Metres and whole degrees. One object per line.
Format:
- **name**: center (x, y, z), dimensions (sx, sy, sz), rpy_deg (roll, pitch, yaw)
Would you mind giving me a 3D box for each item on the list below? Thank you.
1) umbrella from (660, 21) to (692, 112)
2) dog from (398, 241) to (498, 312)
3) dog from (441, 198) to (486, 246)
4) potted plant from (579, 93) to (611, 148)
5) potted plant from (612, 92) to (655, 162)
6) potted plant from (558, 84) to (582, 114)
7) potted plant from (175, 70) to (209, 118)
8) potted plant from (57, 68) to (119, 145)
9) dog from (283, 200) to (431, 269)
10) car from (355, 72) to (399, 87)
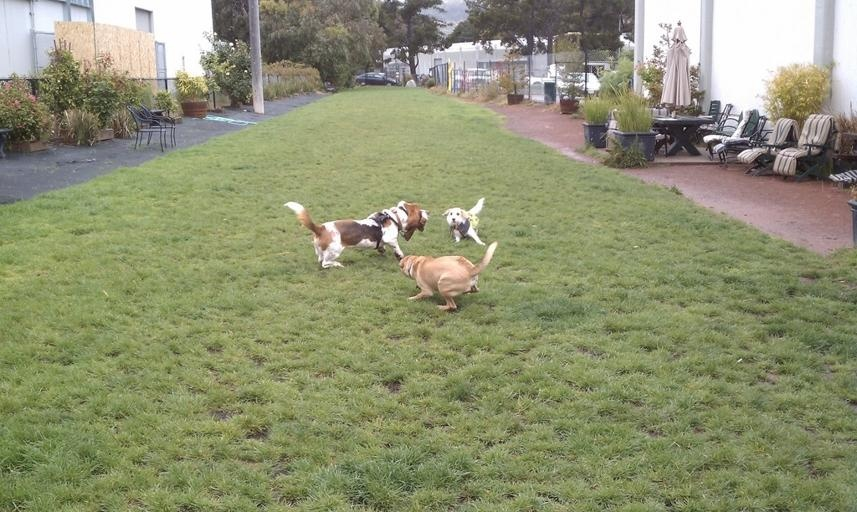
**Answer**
- **umbrella**: center (7.424, -5.549, 20.370), dimensions (0.788, 2.377, 0.819), rpy_deg (6, 18, 18)
- **dog**: center (0.233, 0.264, 9.613), dimensions (1.569, 0.855, 0.707), rpy_deg (5, 18, 37)
- **dog**: center (0.790, -0.678, 12.069), dimensions (0.666, 0.656, 1.359), rpy_deg (12, 7, 23)
- **potted plant**: center (4.953, -3.939, 20.405), dimensions (0.778, 1.405, 1.064), rpy_deg (15, 23, 39)
- **potted plant**: center (5.621, -3.493, 18.706), dimensions (1.088, 1.643, 2.824), rpy_deg (5, 19, 14)
- **potted plant**: center (6.859, -7.687, 33.501), dimensions (1.067, 1.366, 1.995), rpy_deg (4, 18, 10)
- **potted plant**: center (-9.786, -6.728, 28.492), dimensions (0.874, 1.795, 1.339), rpy_deg (14, 22, 37)
- **potted plant**: center (-9.861, -4.307, 19.902), dimensions (1.300, 1.836, 2.587), rpy_deg (-4, 19, -13)
- **dog**: center (-0.993, -0.364, 10.674), dimensions (2.313, 1.014, 0.671), rpy_deg (-8, 13, -35)
- **car**: center (-6.541, -21.455, 83.222), dimensions (4.549, 1.104, 3.875), rpy_deg (-1, 19, -3)
